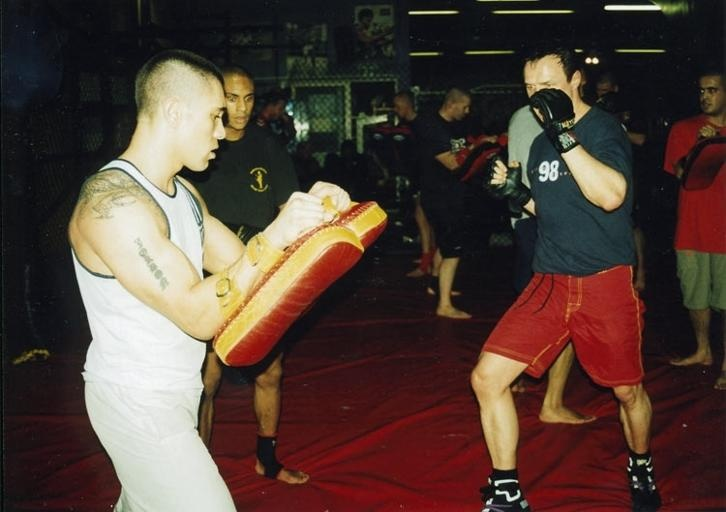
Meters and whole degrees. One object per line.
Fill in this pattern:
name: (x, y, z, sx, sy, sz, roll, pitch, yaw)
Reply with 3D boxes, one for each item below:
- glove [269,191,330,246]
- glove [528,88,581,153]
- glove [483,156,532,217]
glove: (-0.307, -0.155, 2.889, 0.262, 0.244, 0.084, -1, 5, -10)
glove: (1.020, -0.704, 3.610, 0.251, 0.340, 0.150, -19, -13, -21)
glove: (0.899, -0.450, 4.173, 0.209, 0.232, 0.378, -7, 39, -46)
